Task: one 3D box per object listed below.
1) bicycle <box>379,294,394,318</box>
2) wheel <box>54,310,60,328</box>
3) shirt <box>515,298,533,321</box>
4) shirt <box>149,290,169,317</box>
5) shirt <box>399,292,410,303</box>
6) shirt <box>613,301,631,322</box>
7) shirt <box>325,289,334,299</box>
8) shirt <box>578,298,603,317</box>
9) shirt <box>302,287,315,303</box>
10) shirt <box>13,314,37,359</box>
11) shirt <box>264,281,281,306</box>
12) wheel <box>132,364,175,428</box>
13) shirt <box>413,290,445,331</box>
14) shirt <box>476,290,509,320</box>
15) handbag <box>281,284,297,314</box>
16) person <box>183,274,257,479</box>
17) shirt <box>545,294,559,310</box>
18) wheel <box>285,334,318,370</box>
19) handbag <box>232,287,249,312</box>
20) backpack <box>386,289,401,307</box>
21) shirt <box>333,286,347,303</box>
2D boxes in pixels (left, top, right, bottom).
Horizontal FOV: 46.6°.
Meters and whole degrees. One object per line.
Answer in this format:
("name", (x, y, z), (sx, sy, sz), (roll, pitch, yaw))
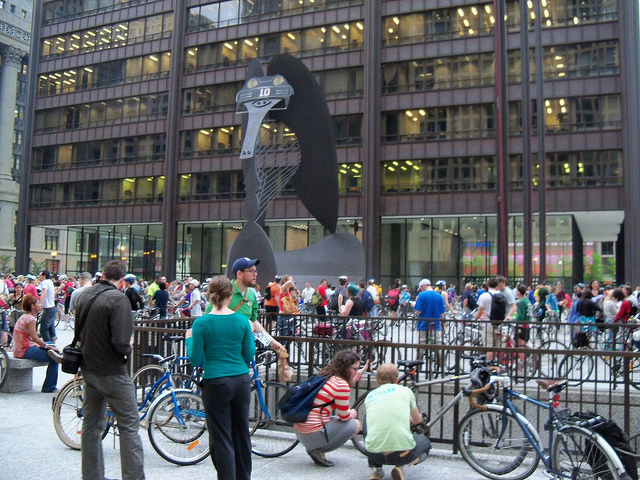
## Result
("bicycle", (2.766, 2.929, 32.931), (0.730, 0.953, 1.533), (-1, -20, 8))
("wheel", (-11.496, 3.452, 32.509), (0.141, 0.725, 0.767), (3, -5, -17))
("shirt", (6.173, 2.136, 22.728), (0.414, 0.694, 1.498), (0, -5, 13))
("shirt", (-5.772, 2.311, 26.872), (0.530, 0.966, 0.334), (4, -6, -24))
("shirt", (3.851, 2.650, 34.010), (0.483, 0.496, 0.270), (-2, -41, 16))
("shirt", (9.070, 2.117, 22.228), (0.370, 0.586, 0.626), (6, -32, 40))
("shirt", (0.339, 2.286, 30.709), (0.465, 0.466, 0.262), (1, 2, 4))
("shirt", (8.297, 2.107, 23.007), (0.737, 0.576, 0.425), (-2, -6, 31))
("shirt", (-0.518, 2.428, 31.156), (0.820, 0.833, 0.473), (1, -8, 0))
("shirt", (-7.881, 2.577, 19.745), (0.704, 1.182, 0.289), (-1, -6, 23))
("shirt", (-1.638, 1.930, 26.363), (0.567, 0.979, 0.965), (8, -11, -7))
("wheel", (-4.082, 3.913, 17.951), (1.316, 1.802, 1.046), (4, -2, -3))
("shirt", (3.371, 2.189, 22.944), (0.949, 1.250, 0.723), (2, -5, -6))
("shirt", (5.217, 2.008, 22.884), (0.703, 1.067, 1.016), (1, -43, 8))
("handbag", (-1.160, 2.108, 26.006), (0.446, 1.166, 0.854), (-20, 0, -2))
("person", (-2.032, 2.858, 15.449), (1.267, 4.197, 0.568), (2, -5, -5))
("shirt", (8.812, 2.405, 28.445), (0.389, 0.691, 0.706), (-1, 3, -11))
("wheel", (-0.443, 3.526, 23.312), (1.128, 1.125, 0.250), (-2, -8, 10))
("handbag", (-1.820, 1.327, 16.652), (0.079, 0.741, 0.113), (27, -23, 31))
("backpack", (3.157, 2.535, 32.178), (0.620, 0.916, 0.479), (7, -46, 18))
("shirt", (0.683, 1.962, 26.290), (0.292, 0.521, 0.525), (18, -21, -39))
